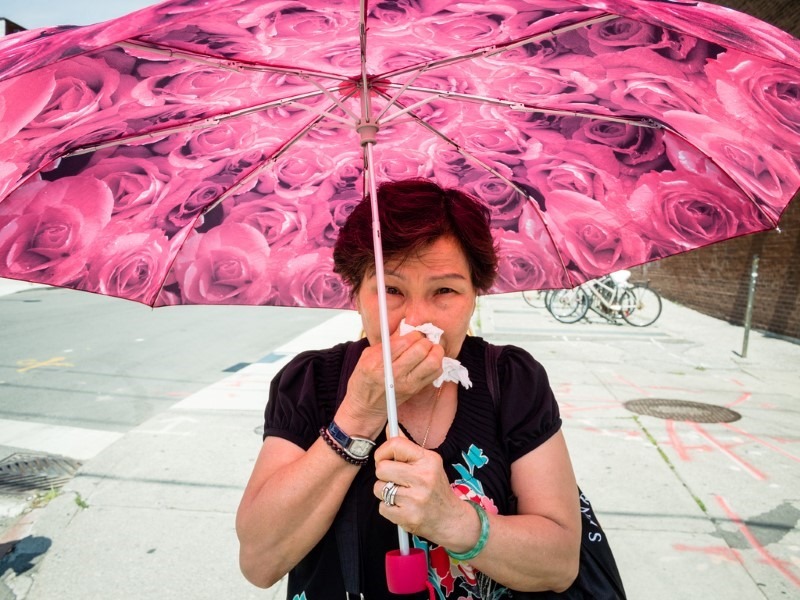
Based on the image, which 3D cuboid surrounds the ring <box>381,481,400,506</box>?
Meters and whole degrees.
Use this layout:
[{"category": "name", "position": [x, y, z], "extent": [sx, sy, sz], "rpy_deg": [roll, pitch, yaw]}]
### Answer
[{"category": "ring", "position": [-0.031, 0.549, 1.548], "extent": [0.056, 0.056, 0.032], "rpy_deg": [2, -12, 0]}]

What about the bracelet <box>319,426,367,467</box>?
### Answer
[{"category": "bracelet", "position": [-0.163, 0.452, 1.720], "extent": [0.132, 0.033, 0.111], "rpy_deg": [39, -18, -30]}]

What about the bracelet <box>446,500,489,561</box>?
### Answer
[{"category": "bracelet", "position": [0.212, 0.702, 1.649], "extent": [0.133, 0.189, 0.055], "rpy_deg": [-3, 10, -10]}]
